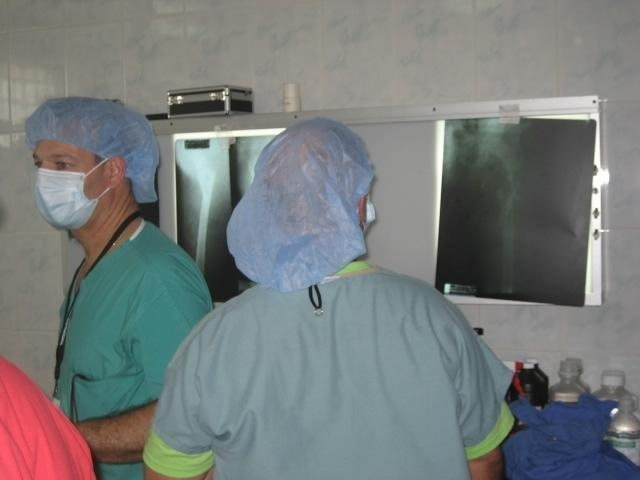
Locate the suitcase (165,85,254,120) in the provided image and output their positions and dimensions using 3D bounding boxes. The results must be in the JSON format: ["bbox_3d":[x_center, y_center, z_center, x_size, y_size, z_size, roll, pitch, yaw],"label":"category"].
[{"bbox_3d":[-0.498,-0.630,3.312,0.323,0.137,0.279,-1,7,16],"label":"suitcase"}]

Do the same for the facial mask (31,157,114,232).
[{"bbox_3d":[-0.848,-0.211,2.510,0.264,0.237,0.304,18,31,38],"label":"facial mask"}]
